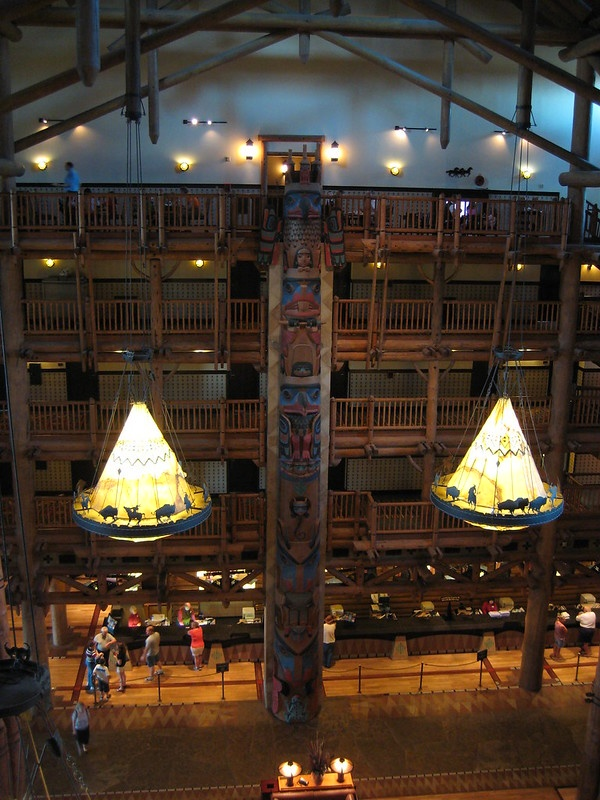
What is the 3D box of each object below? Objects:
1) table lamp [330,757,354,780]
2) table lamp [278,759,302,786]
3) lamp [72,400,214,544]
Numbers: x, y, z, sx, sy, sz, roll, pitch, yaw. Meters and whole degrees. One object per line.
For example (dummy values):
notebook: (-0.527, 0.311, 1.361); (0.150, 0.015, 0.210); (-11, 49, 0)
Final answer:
table lamp: (0.695, 6.454, 15.300); (0.349, 0.333, 0.447); (-1, 9, -1)
table lamp: (-0.173, 6.498, 15.239); (0.355, 0.293, 0.585); (-1, 9, -1)
lamp: (-1.966, 0.919, 11.044); (1.746, 1.542, 1.754); (19, 25, 41)
